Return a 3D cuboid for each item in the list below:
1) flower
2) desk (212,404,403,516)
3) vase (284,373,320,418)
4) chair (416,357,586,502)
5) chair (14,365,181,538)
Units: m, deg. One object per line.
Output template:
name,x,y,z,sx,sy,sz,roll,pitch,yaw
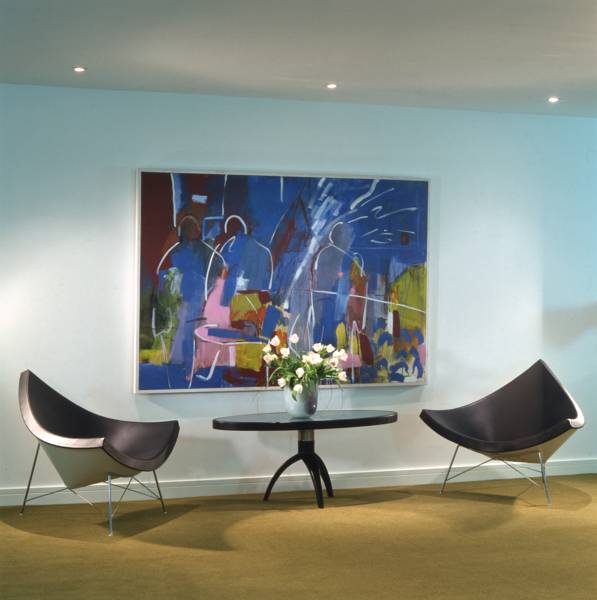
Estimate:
flower,0.033,0.433,4.023,0.604,0.404,0.712,2,2,1
desk,0.025,1.040,3.918,1.176,0.685,0.815,1,3,-10
vase,0.023,0.631,3.797,0.191,0.182,0.196,-2,-4,29
chair,1.435,0.843,3.906,0.915,0.912,1.027,-3,-2,-36
chair,-1.057,0.905,3.609,0.575,0.670,0.642,-2,-3,-39
